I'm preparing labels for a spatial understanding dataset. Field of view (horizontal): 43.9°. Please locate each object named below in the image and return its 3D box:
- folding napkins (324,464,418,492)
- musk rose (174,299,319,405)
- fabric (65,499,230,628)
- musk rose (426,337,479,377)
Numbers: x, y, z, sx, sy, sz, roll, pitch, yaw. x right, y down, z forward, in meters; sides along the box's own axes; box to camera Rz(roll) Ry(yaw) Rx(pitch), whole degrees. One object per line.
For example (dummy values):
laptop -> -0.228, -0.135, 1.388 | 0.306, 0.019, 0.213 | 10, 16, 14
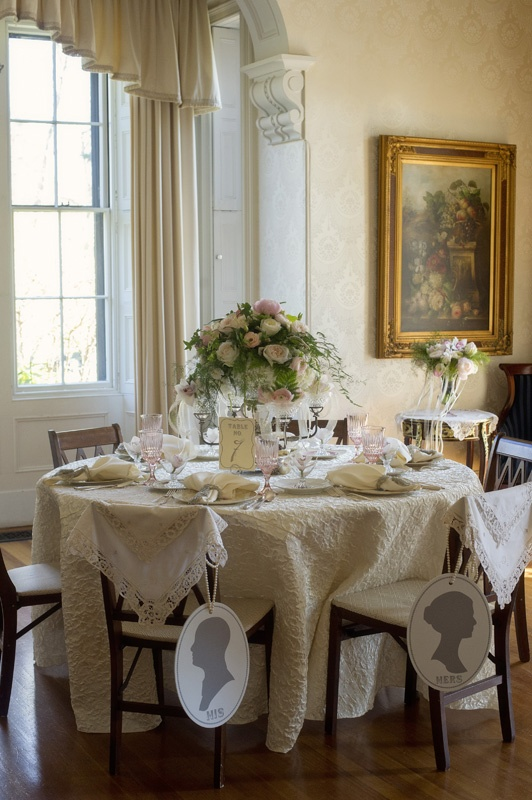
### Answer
folding napkins -> 0.307, 0.243, 1.983 | 0.160, 0.042, 0.114 | 10, 3, 24
musk rose -> -0.060, -0.120, 2.352 | 0.394, 0.355, 0.405 | 2, -4, 12
fabric -> -0.261, 0.380, 1.553 | 0.399, 0.304, 0.070 | 2, 5, 11
musk rose -> 1.140, -0.220, 3.981 | 0.252, 0.184, 0.255 | 1, 51, 12
